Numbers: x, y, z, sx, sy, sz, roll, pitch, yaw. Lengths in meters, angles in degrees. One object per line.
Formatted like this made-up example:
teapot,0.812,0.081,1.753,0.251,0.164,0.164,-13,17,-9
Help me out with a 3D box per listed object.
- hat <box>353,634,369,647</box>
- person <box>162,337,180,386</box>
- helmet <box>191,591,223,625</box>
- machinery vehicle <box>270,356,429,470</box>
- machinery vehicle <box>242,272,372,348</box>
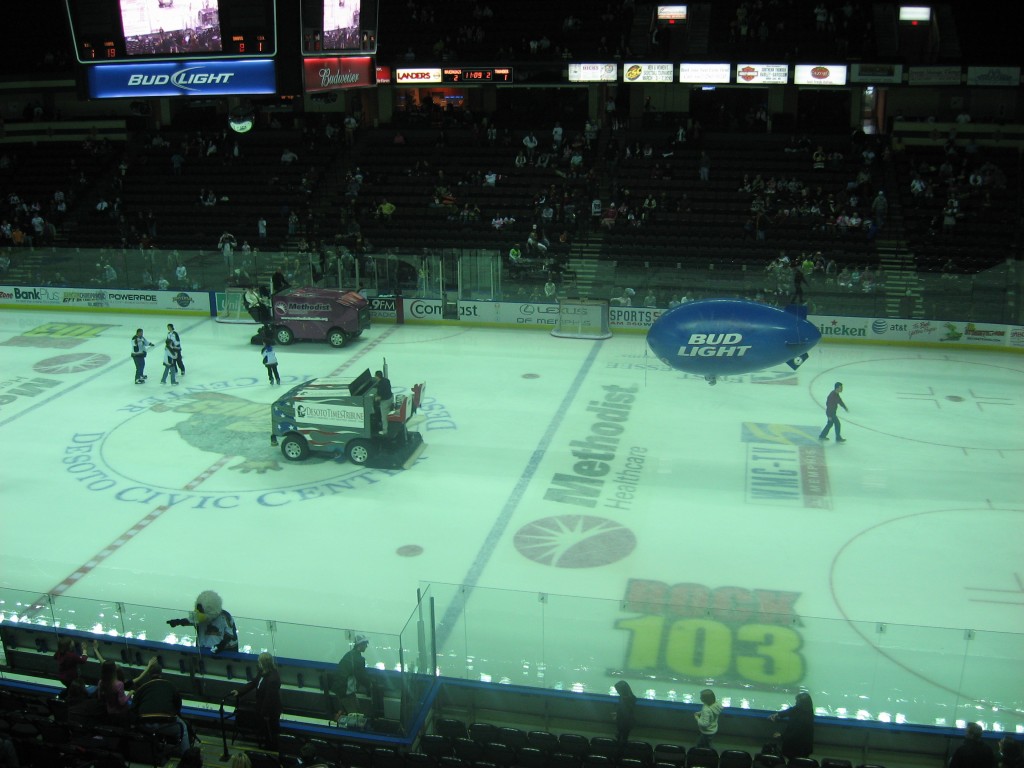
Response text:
hat,-2.551,4.316,17.332,0.220,0.153,0.179,0,11,5
person,-11.220,-0.834,33.561,0.620,1.517,1.144,-7,14,-19
helmet,-5.515,3.962,18.502,0.586,0.568,0.452,7,6,-42
machinery vehicle,-4.744,0.933,28.032,3.649,2.189,1.948,2,7,-11
machinery vehicle,-7.561,-2.746,38.143,4.305,2.042,2.129,6,21,8
